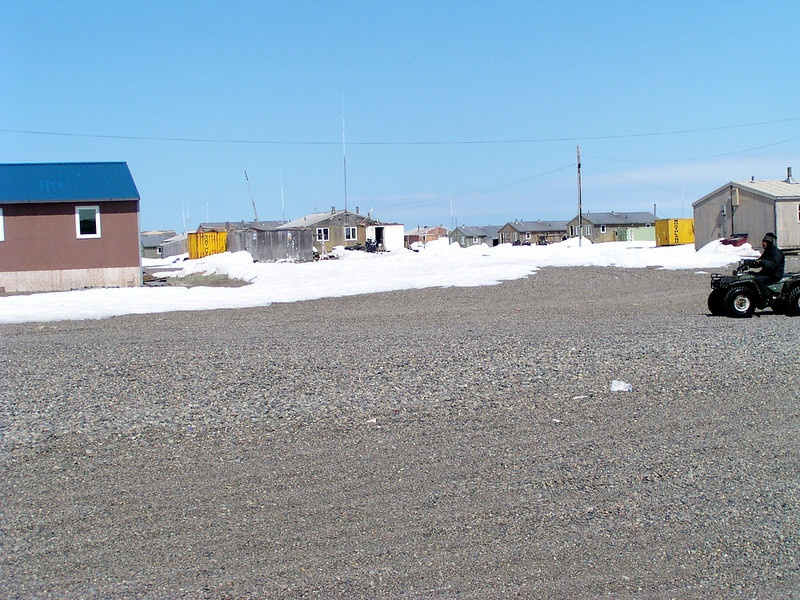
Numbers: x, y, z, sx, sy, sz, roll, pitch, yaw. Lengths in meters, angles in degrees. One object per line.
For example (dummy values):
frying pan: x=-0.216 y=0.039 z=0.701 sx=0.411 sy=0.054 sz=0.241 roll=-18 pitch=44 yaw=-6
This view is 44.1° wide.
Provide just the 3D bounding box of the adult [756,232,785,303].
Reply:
adult: x=7.143 y=-0.652 z=19.011 sx=0.526 sy=1.254 sz=0.471 roll=-1 pitch=7 yaw=7

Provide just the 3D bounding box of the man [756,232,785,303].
man: x=7.149 y=-0.656 z=19.047 sx=0.534 sy=1.254 sz=0.530 roll=-1 pitch=7 yaw=5

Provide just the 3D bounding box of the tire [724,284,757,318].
tire: x=6.597 y=-0.015 z=19.093 sx=0.648 sy=0.649 sz=0.234 roll=-1 pitch=6 yaw=-3

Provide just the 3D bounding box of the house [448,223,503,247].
house: x=10.937 y=-9.456 z=141.548 sx=6.916 sy=2.477 sz=9.851 roll=1 pitch=7 yaw=17

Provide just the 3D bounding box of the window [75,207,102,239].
window: x=-9.728 y=-2.445 z=30.780 sx=1.027 sy=1.312 sz=0.100 roll=0 pitch=-1 yaw=-4
